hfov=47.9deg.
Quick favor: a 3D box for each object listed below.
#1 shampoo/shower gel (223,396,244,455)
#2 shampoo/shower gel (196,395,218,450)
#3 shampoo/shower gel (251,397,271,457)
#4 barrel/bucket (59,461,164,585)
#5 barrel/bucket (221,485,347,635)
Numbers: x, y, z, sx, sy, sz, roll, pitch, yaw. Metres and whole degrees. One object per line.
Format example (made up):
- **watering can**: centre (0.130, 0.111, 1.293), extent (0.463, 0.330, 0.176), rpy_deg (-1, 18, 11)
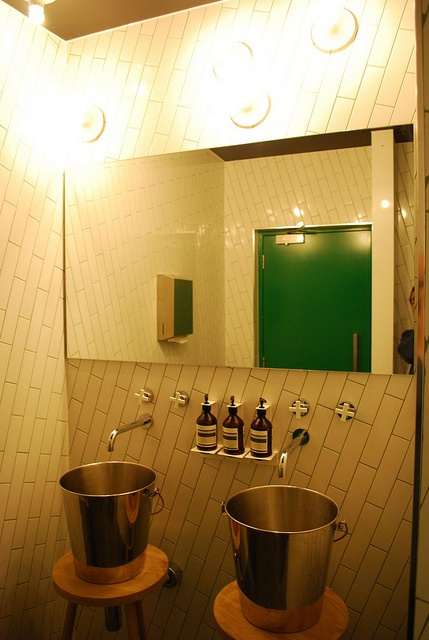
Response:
- **shampoo/shower gel**: centre (0.062, 0.343, 1.585), extent (0.069, 0.181, 0.109), rpy_deg (-1, 3, 3)
- **shampoo/shower gel**: centre (-0.028, 0.343, 1.625), extent (0.068, 0.164, 0.141), rpy_deg (-1, 3, -3)
- **shampoo/shower gel**: centre (0.146, 0.358, 1.514), extent (0.065, 0.150, 0.046), rpy_deg (-1, 3, 7)
- **barrel/bucket**: centre (-0.300, 0.539, 1.474), extent (0.239, 0.301, 0.289), rpy_deg (0, -5, 14)
- **barrel/bucket**: centre (0.173, 0.602, 1.245), extent (0.286, 0.268, 0.297), rpy_deg (-2, 4, 0)
